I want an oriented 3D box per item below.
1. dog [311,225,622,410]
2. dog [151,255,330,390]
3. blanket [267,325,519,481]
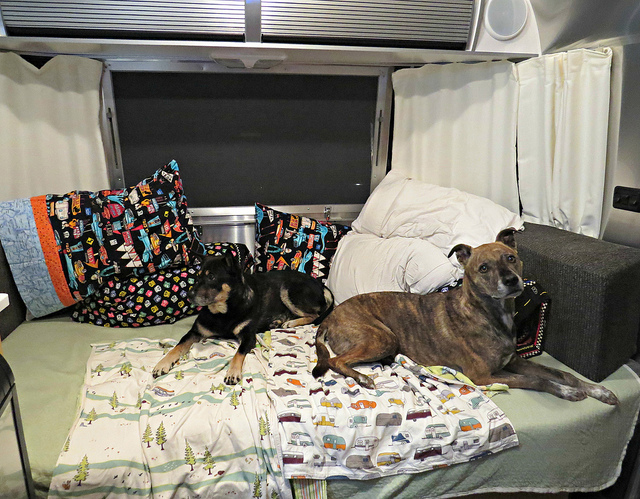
[{"bbox_3d":[0.632,0.321,2.176,1.432,0.792,0.409,4,13,26],"label":"dog"},{"bbox_3d":[-0.360,0.306,2.554,0.427,0.487,1.048,-2,12,32],"label":"dog"},{"bbox_3d":[0.268,0.719,2.103,0.998,0.329,0.661,-5,15,-8],"label":"blanket"}]
